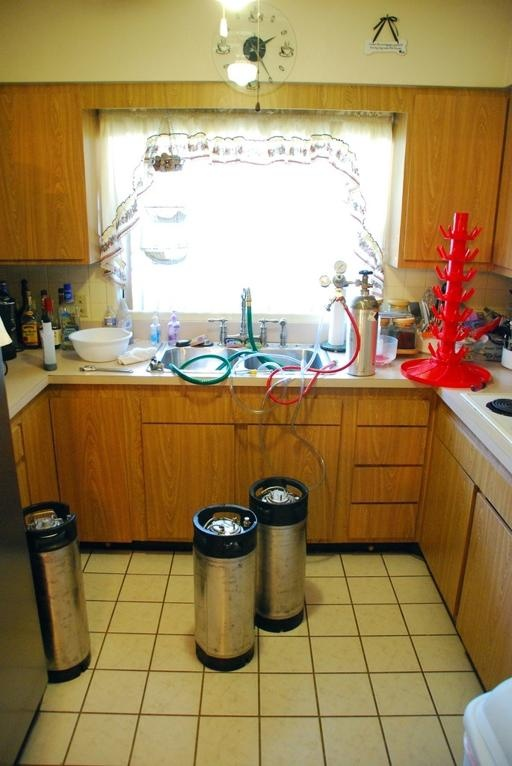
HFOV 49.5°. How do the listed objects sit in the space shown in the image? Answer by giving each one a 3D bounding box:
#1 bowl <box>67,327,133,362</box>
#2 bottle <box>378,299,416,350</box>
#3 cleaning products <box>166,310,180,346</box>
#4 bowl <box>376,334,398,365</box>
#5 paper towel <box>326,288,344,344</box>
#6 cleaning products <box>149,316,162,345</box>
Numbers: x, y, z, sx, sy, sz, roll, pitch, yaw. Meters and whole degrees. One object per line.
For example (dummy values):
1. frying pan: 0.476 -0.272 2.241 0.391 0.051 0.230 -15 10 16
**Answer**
1. bowl: -0.709 -0.171 2.557 0.265 0.122 0.360 -2 13 -14
2. bottle: 0.668 -0.266 2.595 0.148 0.243 0.243 1 18 3
3. cleaning products: -0.416 -0.277 2.810 0.063 0.160 0.195 -1 13 -9
4. bowl: 0.595 -0.145 2.516 0.101 0.097 0.132 5 29 11
5. paper towel: 0.403 -0.322 2.681 0.062 0.291 0.081 3 20 5
6. cleaning products: -0.508 -0.271 2.809 0.055 0.146 0.183 -1 13 -10
